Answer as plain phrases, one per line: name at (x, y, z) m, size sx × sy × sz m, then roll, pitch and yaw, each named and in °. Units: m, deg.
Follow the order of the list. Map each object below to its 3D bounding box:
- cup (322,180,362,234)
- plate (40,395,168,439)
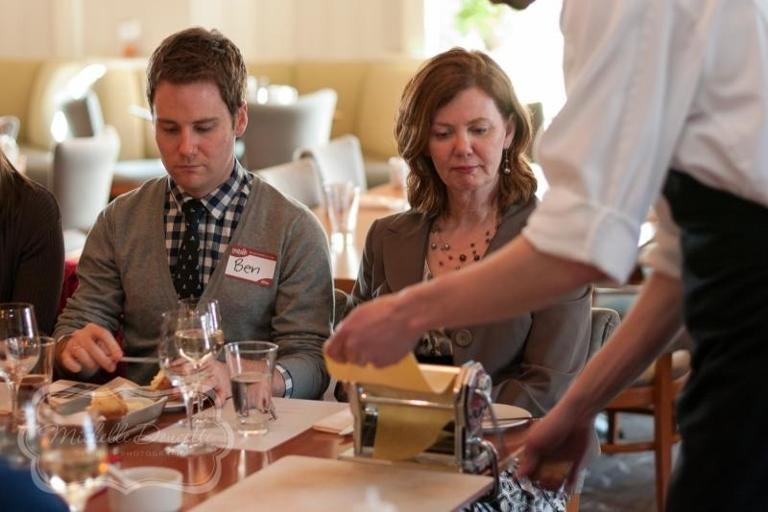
cup at (-0.201, -0.227, 3.262) m, size 0.235 × 0.309 × 0.255 m, roll -2°, pitch 1°, yaw 0°
plate at (-0.529, 0.307, 1.245) m, size 0.160 × 0.060 × 0.222 m, roll 0°, pitch -3°, yaw 2°
